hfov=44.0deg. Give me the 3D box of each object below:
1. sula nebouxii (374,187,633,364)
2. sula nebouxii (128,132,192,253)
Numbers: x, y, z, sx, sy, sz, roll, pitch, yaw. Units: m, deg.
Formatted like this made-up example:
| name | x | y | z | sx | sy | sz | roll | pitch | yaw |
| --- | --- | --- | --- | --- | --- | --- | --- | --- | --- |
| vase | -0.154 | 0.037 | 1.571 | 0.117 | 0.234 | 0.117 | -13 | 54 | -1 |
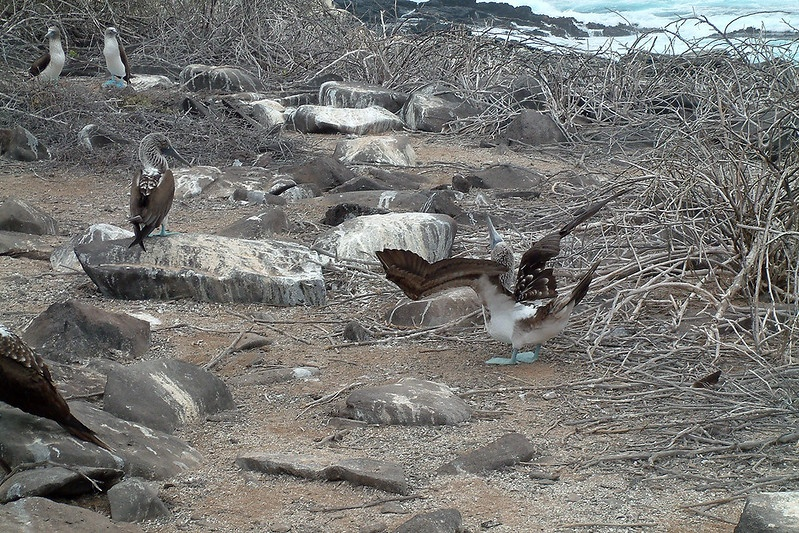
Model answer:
| name | x | y | z | sx | sy | sz | roll | pitch | yaw |
| --- | --- | --- | --- | --- | --- | --- | --- | --- | --- |
| sula nebouxii | 0.661 | 0.117 | 7.637 | 1.512 | 1.443 | 0.804 | 8 | 19 | -9 |
| sula nebouxii | -2.359 | -0.735 | 9.474 | 0.391 | 0.942 | 1.683 | 9 | 14 | -14 |
